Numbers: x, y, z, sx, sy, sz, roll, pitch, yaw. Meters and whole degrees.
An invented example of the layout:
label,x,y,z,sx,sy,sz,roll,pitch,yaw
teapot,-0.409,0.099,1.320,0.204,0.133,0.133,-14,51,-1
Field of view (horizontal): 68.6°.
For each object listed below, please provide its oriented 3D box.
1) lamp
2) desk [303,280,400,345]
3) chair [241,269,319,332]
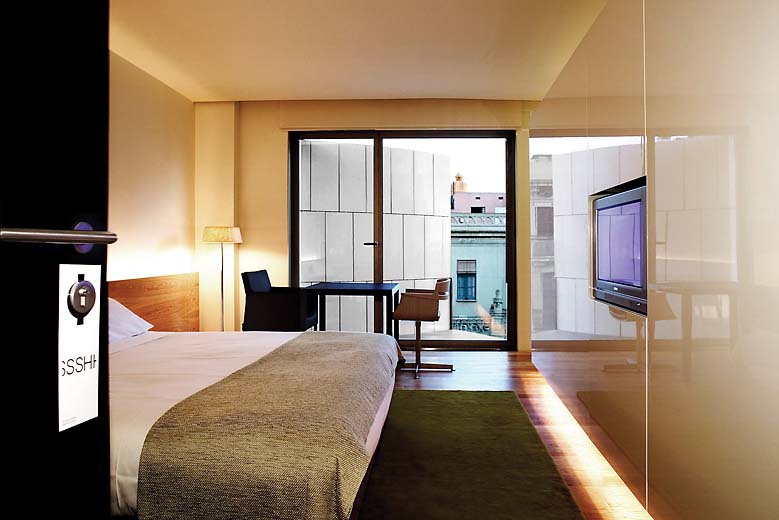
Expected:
label,x,y,z,sx,sy,sz,roll,pitch,yaw
lamp,-1.583,0.189,5.496,0.364,1.025,0.509,-3,6,-14
desk,-0.337,0.605,5.207,0.783,0.796,0.588,0,-3,6
chair,-0.941,0.347,5.231,0.636,0.726,0.494,-1,-1,2
